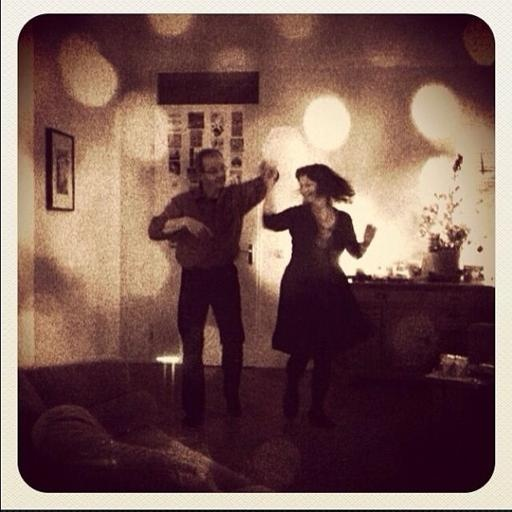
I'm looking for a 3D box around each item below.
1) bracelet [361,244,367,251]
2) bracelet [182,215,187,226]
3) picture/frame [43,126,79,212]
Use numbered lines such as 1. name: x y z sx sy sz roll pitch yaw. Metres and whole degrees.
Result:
1. bracelet: 0.366 -0.028 1.970 0.015 0.020 0.004 10 -4 2
2. bracelet: -0.247 -0.120 2.001 0.007 0.045 0.021 3 11 2
3. picture/frame: -0.674 -0.287 2.012 0.079 0.258 0.024 0 0 -40
